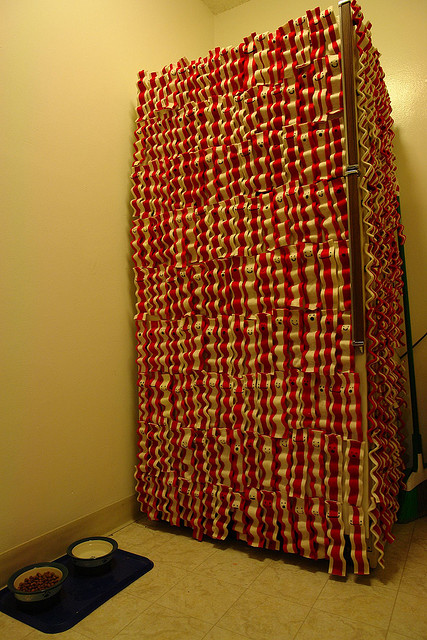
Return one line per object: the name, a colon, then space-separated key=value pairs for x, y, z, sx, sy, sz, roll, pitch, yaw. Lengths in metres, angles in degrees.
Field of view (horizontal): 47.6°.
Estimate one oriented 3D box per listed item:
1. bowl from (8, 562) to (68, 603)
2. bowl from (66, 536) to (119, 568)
bowl: x=-0.611 y=0.918 z=1.679 sx=0.193 sy=0.059 sz=0.208 roll=-2 pitch=-3 yaw=0
bowl: x=-0.499 y=0.938 z=1.952 sx=0.133 sy=0.060 sz=0.140 roll=9 pitch=-4 yaw=1
